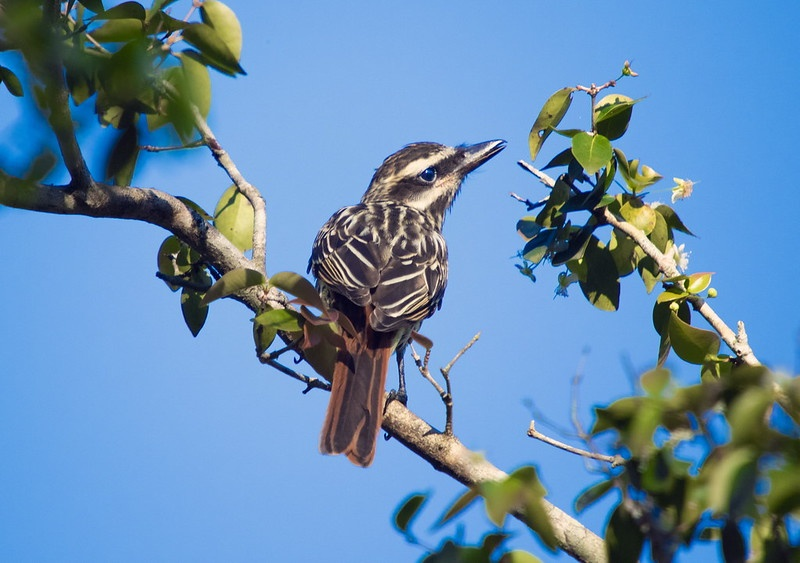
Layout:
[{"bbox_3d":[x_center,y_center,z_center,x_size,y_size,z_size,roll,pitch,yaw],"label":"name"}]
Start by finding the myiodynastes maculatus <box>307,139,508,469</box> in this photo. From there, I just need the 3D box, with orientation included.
[{"bbox_3d":[0.112,-0.050,7.088,0.595,2.402,1.142,3,-73,9],"label":"myiodynastes maculatus"}]
